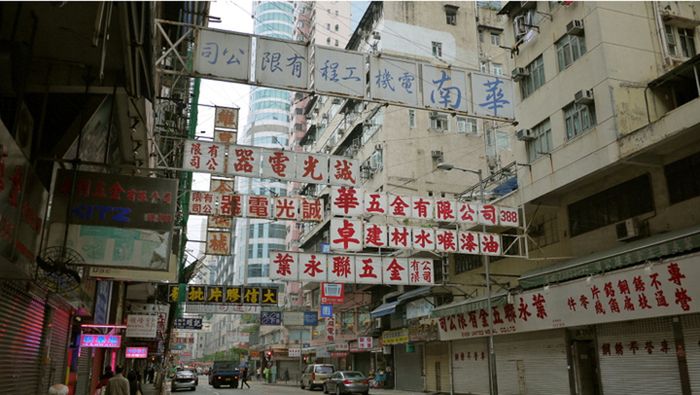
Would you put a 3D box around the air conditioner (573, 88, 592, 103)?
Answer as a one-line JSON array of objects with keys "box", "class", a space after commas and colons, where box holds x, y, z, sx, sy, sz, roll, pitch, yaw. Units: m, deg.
[{"box": [11.040, -4.746, 33.612, 0.684, 0.421, 0.674, 15, -8, -37], "class": "air conditioner"}]

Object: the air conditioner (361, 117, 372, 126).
[{"box": [1.296, -5.582, 52.101, 0.531, 0.316, 0.525, 2, -15, -10], "class": "air conditioner"}]

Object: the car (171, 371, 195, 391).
[{"box": [-11.195, 12.222, 48.125, 1.342, 0.990, 3.059, 3, -9, -12], "class": "car"}]

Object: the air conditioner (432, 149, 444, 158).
[{"box": [6.148, -3.174, 50.381, 0.795, 0.531, 0.428, 3, -21, -16], "class": "air conditioner"}]

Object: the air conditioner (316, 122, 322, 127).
[{"box": [-2.718, -6.564, 63.348, 0.379, 0.224, 0.371, 3, -17, -12], "class": "air conditioner"}]

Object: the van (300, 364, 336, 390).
[{"box": [-2.153, 11.916, 48.272, 1.439, 1.135, 2.771, 6, -18, -15], "class": "van"}]

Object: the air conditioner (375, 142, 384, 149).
[{"box": [2.074, -3.689, 50.176, 0.683, 0.471, 0.367, -5, -20, 21], "class": "air conditioner"}]

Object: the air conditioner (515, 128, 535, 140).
[{"box": [9.001, -3.243, 36.642, 0.625, 0.385, 0.623, 4, -7, -21], "class": "air conditioner"}]

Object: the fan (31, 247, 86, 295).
[{"box": [-9.430, 2.240, 23.234, 1.478, 1.518, 0.933, 8, -23, -15], "class": "fan"}]
